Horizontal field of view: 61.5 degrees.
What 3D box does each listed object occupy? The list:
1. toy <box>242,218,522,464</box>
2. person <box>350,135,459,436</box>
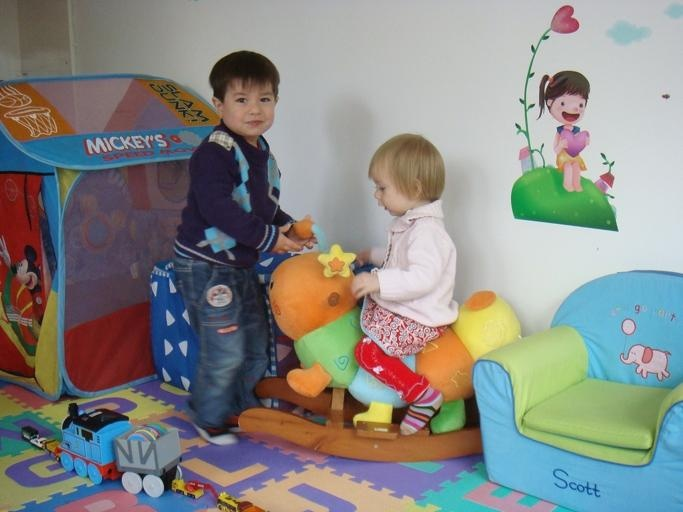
[{"bbox_3d":[0.069,0.380,2.612,1.260,0.912,0.697,6,3,9],"label":"toy"},{"bbox_3d":[0.258,0.102,2.252,0.396,1.125,0.378,2,15,12],"label":"person"}]
